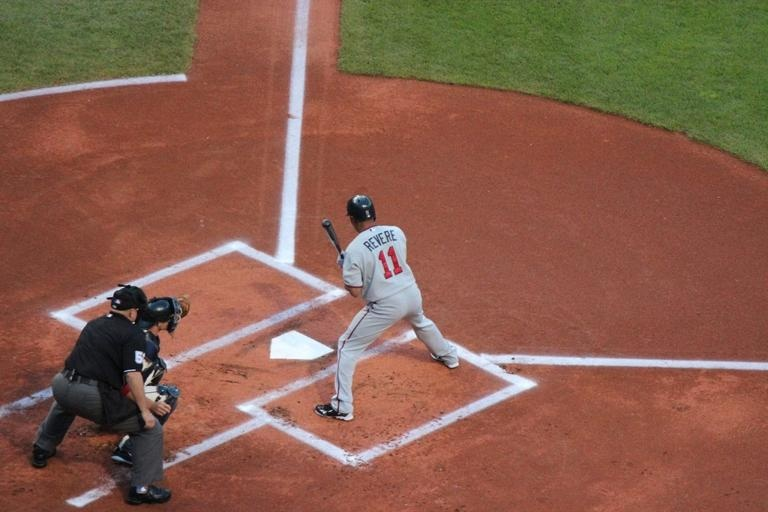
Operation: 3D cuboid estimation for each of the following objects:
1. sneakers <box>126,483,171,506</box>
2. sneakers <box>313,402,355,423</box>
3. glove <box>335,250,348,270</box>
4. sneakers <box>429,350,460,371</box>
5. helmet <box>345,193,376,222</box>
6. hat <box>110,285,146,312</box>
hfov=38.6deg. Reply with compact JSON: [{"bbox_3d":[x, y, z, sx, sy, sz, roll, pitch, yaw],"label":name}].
[{"bbox_3d":[-3.020,3.073,14.085,0.568,0.263,0.218,0,51,-8],"label":"sneakers"},{"bbox_3d":[-0.693,2.175,15.211,0.553,0.245,0.207,16,16,-6],"label":"sneakers"},{"bbox_3d":[-0.579,0.061,14.984,0.125,0.265,0.198,0,7,-14],"label":"glove"},{"bbox_3d":[0.879,1.522,15.913,0.427,0.196,0.190,21,38,-28],"label":"sneakers"},{"bbox_3d":[-0.360,-0.673,15.094,0.319,0.246,0.425,-16,33,-15],"label":"helmet"},{"bbox_3d":[-3.271,0.546,13.994,0.419,0.292,0.293,-10,26,-21],"label":"hat"}]
